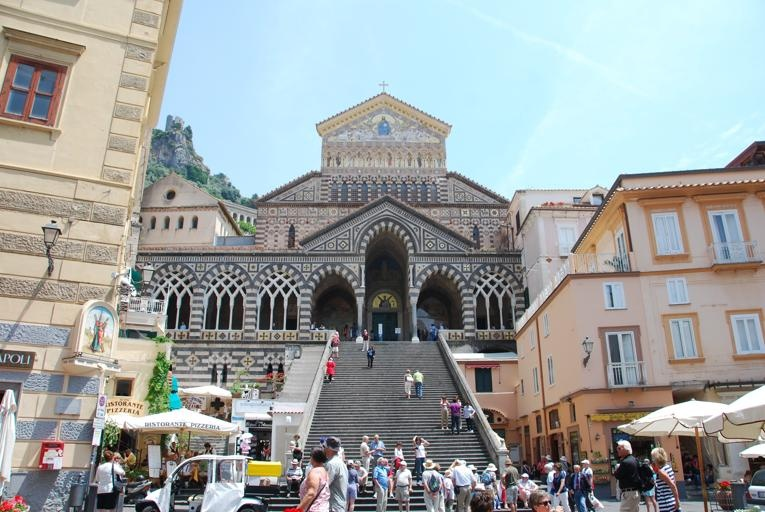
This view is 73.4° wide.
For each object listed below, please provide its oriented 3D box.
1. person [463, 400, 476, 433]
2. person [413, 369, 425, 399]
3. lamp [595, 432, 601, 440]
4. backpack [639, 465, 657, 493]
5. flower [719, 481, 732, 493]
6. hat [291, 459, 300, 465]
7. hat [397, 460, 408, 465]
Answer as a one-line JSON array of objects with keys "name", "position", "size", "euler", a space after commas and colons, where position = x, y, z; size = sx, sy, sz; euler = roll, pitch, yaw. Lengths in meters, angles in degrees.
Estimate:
[{"name": "person", "position": [3.585, 6.656, 21.329], "size": [0.446, 0.873, 0.913], "euler": [2, 9, 9]}, {"name": "person", "position": [1.664, 5.988, 24.192], "size": [0.474, 1.000, 1.180], "euler": [1, 9, 4]}, {"name": "lamp", "position": [8.111, 6.791, 19.443], "size": [0.213, 0.304, 0.252], "euler": [3, -22, 0]}, {"name": "backpack", "position": [5.176, 4.395, 10.159], "size": [0.250, 0.494, 0.523], "euler": [4, 10, 23]}, {"name": "flower", "position": [10.136, 6.799, 15.223], "size": [0.332, 0.142, 0.346], "euler": [-5, -19, 34]}, {"name": "hat", "position": [-2.806, 6.627, 16.572], "size": [0.271, 0.097, 0.307], "euler": [3, -26, -2]}, {"name": "hat", "position": [0.585, 5.916, 14.733], "size": [0.251, 0.197, 0.382], "euler": [6, -24, -14]}]
